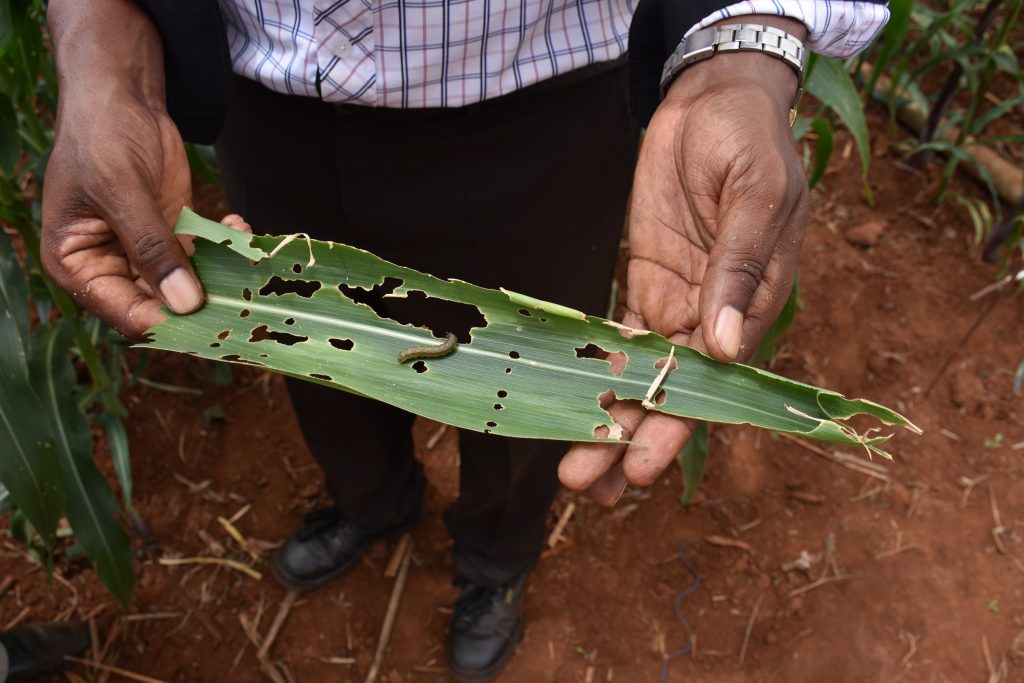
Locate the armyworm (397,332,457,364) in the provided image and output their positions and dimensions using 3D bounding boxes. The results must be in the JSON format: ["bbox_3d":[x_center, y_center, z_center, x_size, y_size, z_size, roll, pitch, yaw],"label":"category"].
[{"bbox_3d":[-0.297,0.034,3.029,0.189,0.056,0.101,-26,51,4],"label":"armyworm"}]

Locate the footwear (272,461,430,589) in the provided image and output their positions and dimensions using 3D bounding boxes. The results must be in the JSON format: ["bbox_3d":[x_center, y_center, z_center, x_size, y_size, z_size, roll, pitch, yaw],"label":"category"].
[{"bbox_3d":[-0.668,0.867,4.058,0.843,0.378,0.345,-30,74,-25],"label":"footwear"}]

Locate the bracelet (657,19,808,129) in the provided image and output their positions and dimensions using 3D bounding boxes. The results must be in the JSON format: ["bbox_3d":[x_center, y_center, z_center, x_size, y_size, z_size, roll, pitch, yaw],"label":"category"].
[{"bbox_3d":[0.764,-0.929,2.973,0.361,0.398,0.122,-1,54,8],"label":"bracelet"}]
